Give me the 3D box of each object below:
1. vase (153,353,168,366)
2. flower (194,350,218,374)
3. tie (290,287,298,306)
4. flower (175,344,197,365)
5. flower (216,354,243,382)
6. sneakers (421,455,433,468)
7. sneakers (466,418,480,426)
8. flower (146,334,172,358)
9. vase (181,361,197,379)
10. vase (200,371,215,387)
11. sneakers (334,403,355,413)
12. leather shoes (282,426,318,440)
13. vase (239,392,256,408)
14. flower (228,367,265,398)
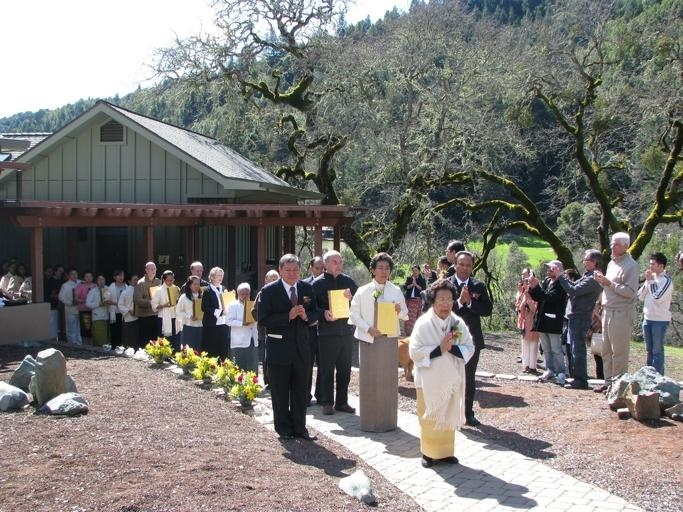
[{"bbox_3d":[-3.362,1.913,12.775,0.180,0.161,0.199,1,0,-3],"label":"vase"},{"bbox_3d":[-2.334,1.852,11.813,0.317,0.401,0.335,-2,8,-5],"label":"flower"},{"bbox_3d":[-0.692,0.579,10.059,0.108,0.248,0.164,12,14,38],"label":"tie"},{"bbox_3d":[-2.778,1.800,12.317,0.317,0.430,0.353,0,7,-6],"label":"flower"},{"bbox_3d":[-1.891,1.893,11.414,0.356,0.446,0.370,-1,17,-11],"label":"flower"},{"bbox_3d":[1.167,2.806,9.370,0.119,0.235,0.142,-3,-4,19],"label":"sneakers"},{"bbox_3d":[2.035,2.558,10.653,0.208,0.120,0.110,1,11,-12],"label":"sneakers"},{"bbox_3d":[-3.420,1.639,12.859,0.391,0.499,0.426,0,-4,-15],"label":"flower"},{"bbox_3d":[-2.709,1.991,12.187,0.217,0.196,0.207,-7,-11,36],"label":"vase"},{"bbox_3d":[-2.287,2.115,11.695,0.166,0.151,0.169,-3,-4,17],"label":"vase"},{"bbox_3d":[0.048,2.521,11.453,0.323,0.156,0.128,-1,-1,17],"label":"sneakers"},{"bbox_3d":[-0.609,2.587,9.921,0.512,0.258,0.191,-3,-2,-2],"label":"leather shoes"},{"bbox_3d":[-1.483,2.238,10.867,0.218,0.207,0.240,1,-2,-18],"label":"vase"},{"bbox_3d":[-1.543,2.042,11.062,0.405,0.368,0.450,1,-11,-7],"label":"flower"}]
